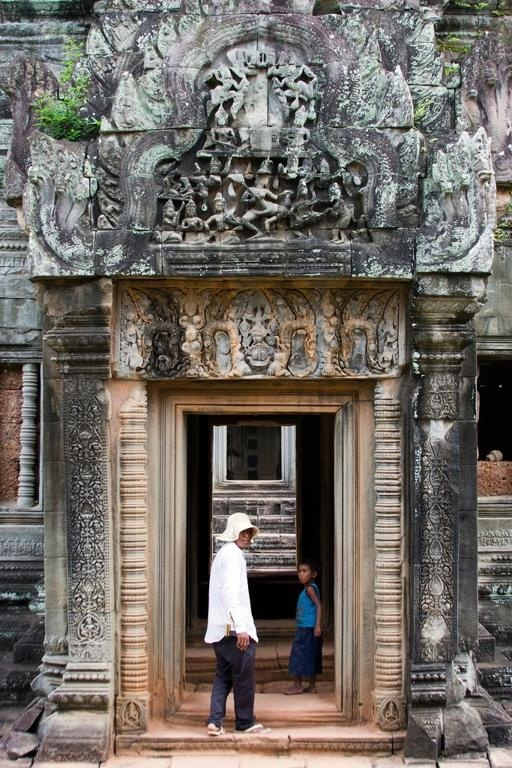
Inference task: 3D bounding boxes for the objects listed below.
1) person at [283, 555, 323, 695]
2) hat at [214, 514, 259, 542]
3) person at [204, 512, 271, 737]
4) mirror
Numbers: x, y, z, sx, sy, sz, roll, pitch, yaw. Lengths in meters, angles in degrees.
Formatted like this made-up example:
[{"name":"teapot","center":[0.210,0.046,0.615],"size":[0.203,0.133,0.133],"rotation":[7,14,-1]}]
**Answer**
[{"name":"person","center":[0.320,1.648,7.639],"size":[0.227,0.850,0.320],"rotation":[0,-4,1]},{"name":"hat","center":[-0.119,0.882,6.843],"size":[0.195,0.126,0.229],"rotation":[3,-15,-1]},{"name":"person","center":[-0.135,1.432,6.734],"size":[0.349,1.297,0.438],"rotation":[0,-4,-2]},{"name":"mirror","center":[-0.064,0.929,15.989],"size":[0.902,1.021,0.078],"rotation":[3,-16,-18]}]
